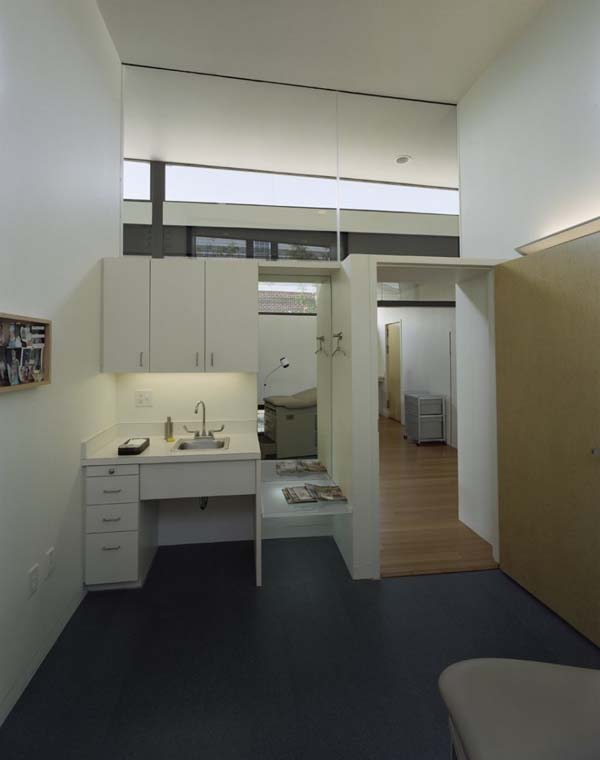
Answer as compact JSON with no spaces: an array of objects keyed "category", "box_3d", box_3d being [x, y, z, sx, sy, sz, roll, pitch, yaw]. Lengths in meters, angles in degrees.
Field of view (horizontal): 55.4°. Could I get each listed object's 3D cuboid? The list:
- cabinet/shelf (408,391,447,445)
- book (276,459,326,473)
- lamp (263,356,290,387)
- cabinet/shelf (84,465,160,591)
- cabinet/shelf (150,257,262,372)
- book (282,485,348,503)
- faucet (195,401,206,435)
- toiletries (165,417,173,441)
[{"category":"cabinet/shelf","box_3d":[1.496,0.485,6.985,0.269,0.621,0.560,-1,1,-9]},{"category":"book","box_3d":[0.005,0.632,4.100,0.367,0.045,0.209,-1,12,-9]},{"category":"lamp","box_3d":[-0.158,-0.058,4.035,0.188,0.365,0.119,0,10,-10]},{"category":"cabinet/shelf","box_3d":[-1.154,0.669,3.544,0.340,0.823,0.726,-1,26,-21]},{"category":"cabinet/shelf","box_3d":[-0.628,-0.414,3.615,0.496,0.698,0.231,0,0,-8]},{"category":"book","box_3d":[0.083,0.728,3.651,0.391,0.044,0.335,-1,12,-8]},{"category":"faucet","box_3d":[-0.675,0.269,3.913,0.074,0.204,0.125,-4,10,-26]},{"category":"toiletries","box_3d":[-0.888,0.334,3.851,0.062,0.132,0.139,-2,10,-14]}]
